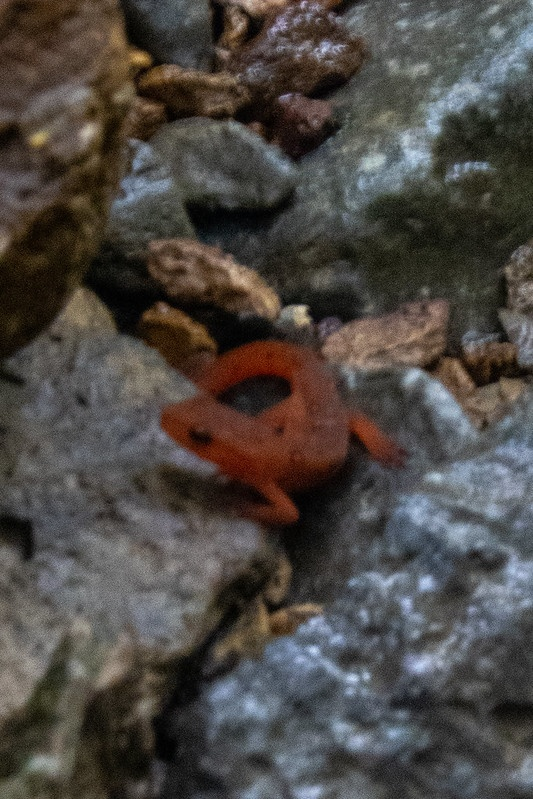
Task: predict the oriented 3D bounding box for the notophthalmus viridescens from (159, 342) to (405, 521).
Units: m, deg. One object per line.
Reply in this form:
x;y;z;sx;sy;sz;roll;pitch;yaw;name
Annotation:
0.052;0.063;1.531;0.493;0.121;0.342;24;66;2;notophthalmus viridescens
